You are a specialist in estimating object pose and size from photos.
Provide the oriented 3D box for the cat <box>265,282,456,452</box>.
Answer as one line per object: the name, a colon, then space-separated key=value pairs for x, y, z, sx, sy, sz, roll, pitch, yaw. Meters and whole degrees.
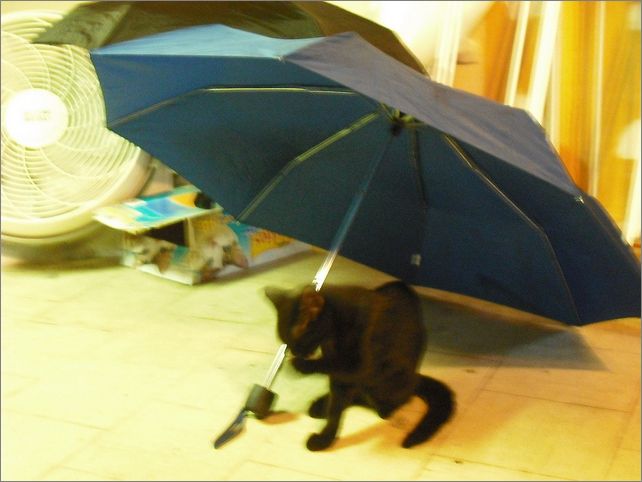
cat: x=0.190 y=0.397 z=2.085 sx=0.591 sy=0.631 sz=0.505 roll=-19 pitch=19 yaw=-27
